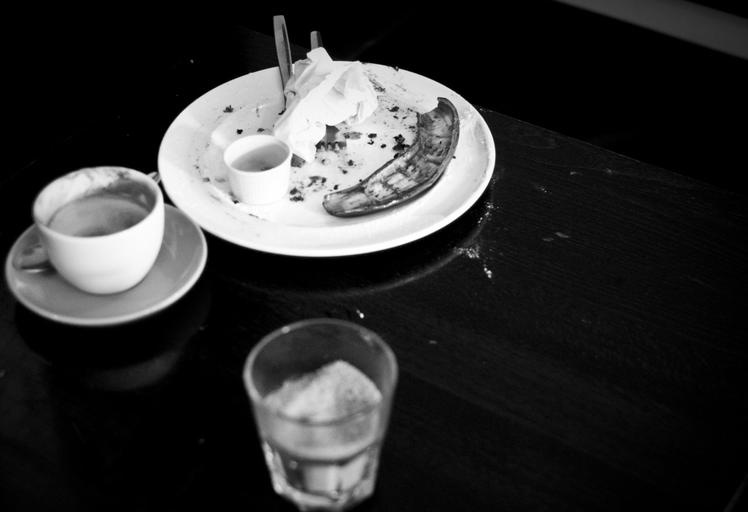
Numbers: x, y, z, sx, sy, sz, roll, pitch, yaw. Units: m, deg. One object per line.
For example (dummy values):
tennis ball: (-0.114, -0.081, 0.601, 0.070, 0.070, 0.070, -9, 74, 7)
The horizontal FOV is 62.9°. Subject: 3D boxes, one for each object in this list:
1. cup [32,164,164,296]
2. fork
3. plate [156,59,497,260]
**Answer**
cup: (-0.344, -0.038, 0.771, 0.176, 0.122, 0.150, 4, 51, -5)
fork: (-0.088, -0.343, 1.111, 0.046, 0.032, 0.324, -6, 77, -2)
plate: (-0.023, -0.113, 0.903, 0.371, 0.042, 0.374, -24, 50, -25)
